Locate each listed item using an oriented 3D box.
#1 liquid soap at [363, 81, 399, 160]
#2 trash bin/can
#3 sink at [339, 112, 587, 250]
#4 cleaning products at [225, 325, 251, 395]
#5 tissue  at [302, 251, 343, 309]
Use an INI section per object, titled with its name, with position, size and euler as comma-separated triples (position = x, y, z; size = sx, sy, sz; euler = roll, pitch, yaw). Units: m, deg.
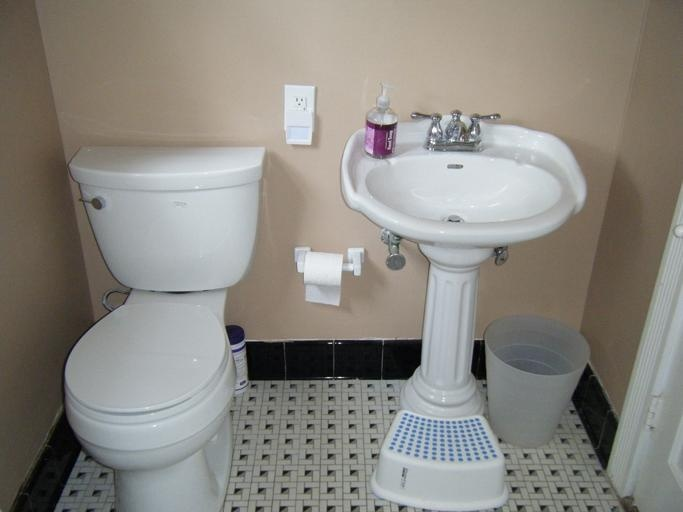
[liquid soap]
position = 0.129, -0.421, 1.654
size = 0.110, 0.212, 0.126
euler = 0, 25, -1
[trash bin/can]
position = 0.676, 0.442, 1.851
size = 0.274, 0.312, 0.278
euler = -16, 29, -24
[sink]
position = 0.354, -0.207, 1.569
size = 0.703, 0.277, 0.525
euler = 1, 26, 1
[cleaning products]
position = -0.382, 0.384, 2.019
size = 0.095, 0.295, 0.107
euler = 1, 31, -10
[tissue ]
position = -0.057, 0.080, 1.891
size = 0.132, 0.205, 0.116
euler = 6, 20, 10
